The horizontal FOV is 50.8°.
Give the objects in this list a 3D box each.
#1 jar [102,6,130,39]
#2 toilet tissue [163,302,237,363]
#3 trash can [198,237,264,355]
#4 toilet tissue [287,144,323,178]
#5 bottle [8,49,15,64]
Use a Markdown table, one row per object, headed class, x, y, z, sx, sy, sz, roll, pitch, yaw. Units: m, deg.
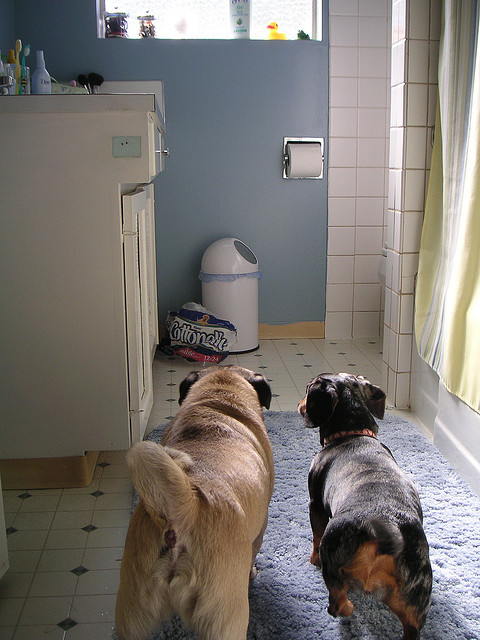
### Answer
| class | x | y | z | sx | sy | sz | roll | pitch | yaw |
| --- | --- | --- | --- | --- | --- | --- | --- | --- | --- |
| jar | -0.861 | -2.075 | 3.517 | 0.190 | 0.233 | 0.188 | -1 | 19 | 0 |
| toilet tissue | -0.275 | 0.104 | 3.456 | 0.481 | 0.305 | 0.230 | 0 | 19 | 4 |
| trash can | -0.092 | -0.216 | 3.613 | 0.393 | 0.872 | 0.434 | -3 | 15 | -16 |
| toilet tissue | 0.467 | -1.141 | 3.663 | 0.236 | 0.218 | 0.224 | -4 | 10 | -5 |
| bottle | -0.866 | -0.997 | 1.913 | 0.021 | 0.048 | 0.083 | -9 | 21 | -21 |
